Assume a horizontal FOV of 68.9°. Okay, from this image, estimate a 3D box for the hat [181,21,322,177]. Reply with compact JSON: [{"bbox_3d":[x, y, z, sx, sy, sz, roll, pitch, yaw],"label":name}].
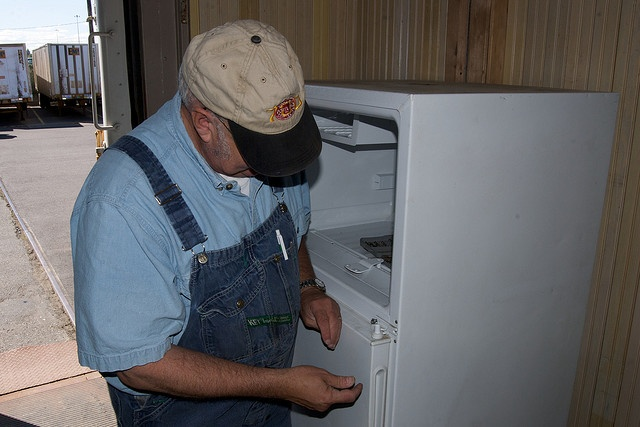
[{"bbox_3d":[-0.203,-0.362,1.438,0.405,0.442,0.259,-8,20,-14],"label":"hat"}]
